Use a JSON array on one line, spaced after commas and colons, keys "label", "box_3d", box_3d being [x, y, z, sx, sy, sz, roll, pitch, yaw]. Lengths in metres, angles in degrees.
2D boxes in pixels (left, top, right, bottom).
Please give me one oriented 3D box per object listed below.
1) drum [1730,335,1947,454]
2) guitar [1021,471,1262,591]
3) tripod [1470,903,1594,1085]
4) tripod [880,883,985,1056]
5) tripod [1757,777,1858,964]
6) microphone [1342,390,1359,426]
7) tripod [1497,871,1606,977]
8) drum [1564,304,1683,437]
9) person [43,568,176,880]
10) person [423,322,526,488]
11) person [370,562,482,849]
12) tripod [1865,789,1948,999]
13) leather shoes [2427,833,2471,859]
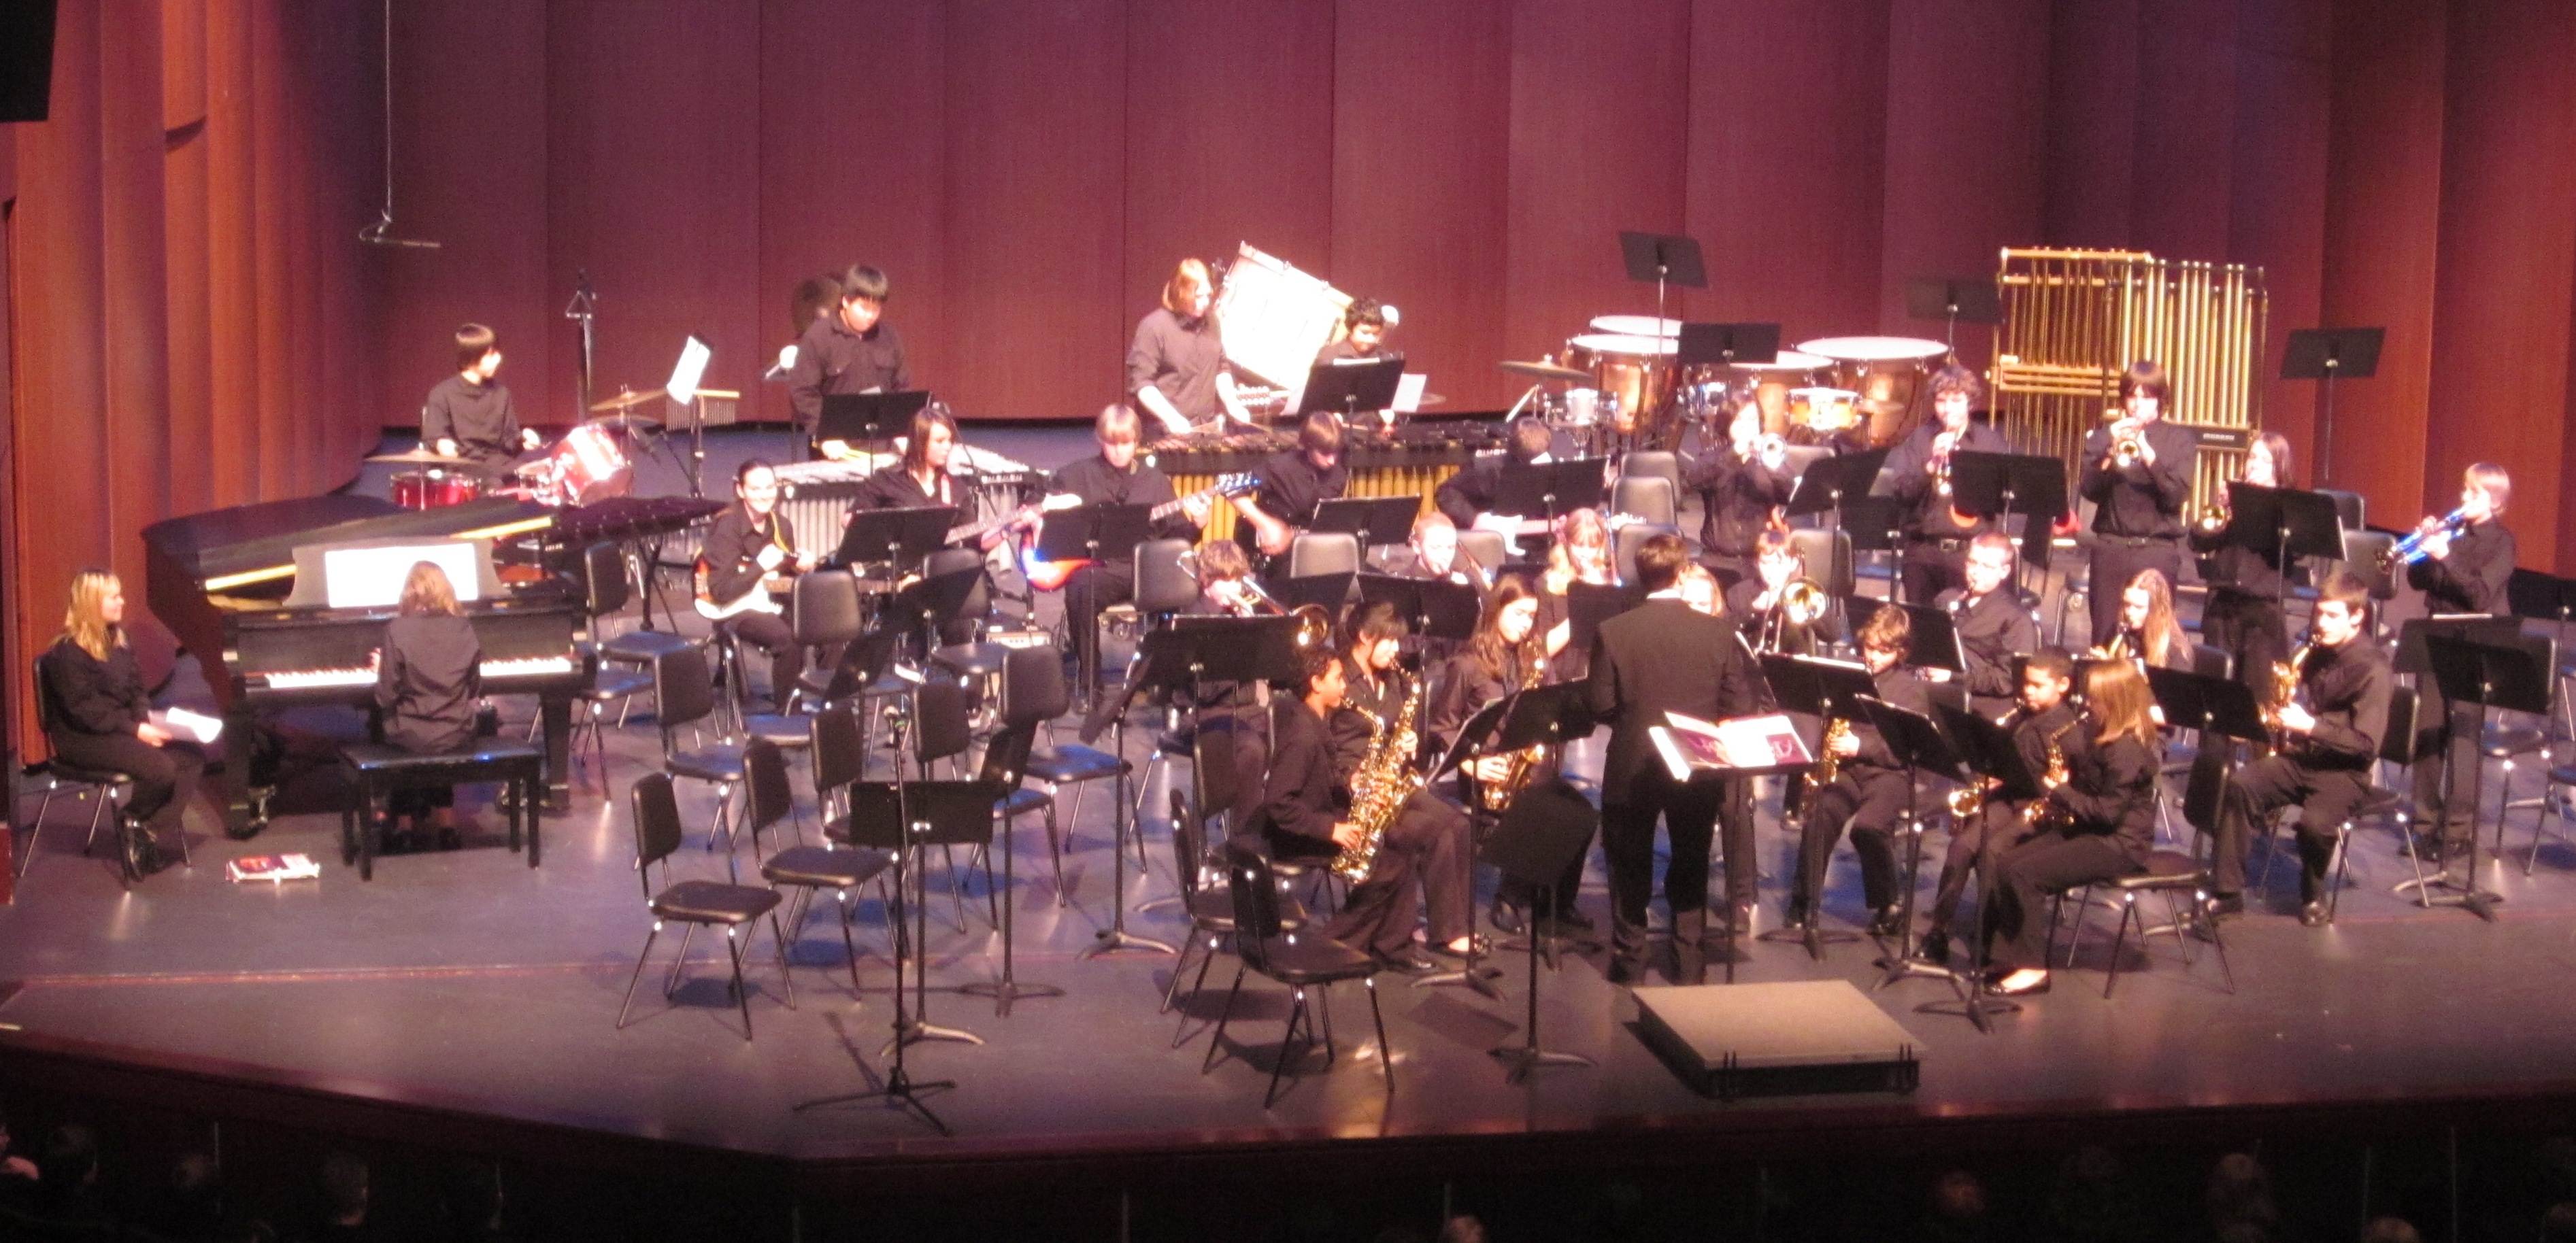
[{"label": "drum", "box_3d": [6.115, -2.376, 24.982, 2.273, 0.955, 1.667, 0, 9, 3]}, {"label": "guitar", "box_3d": [-1.500, -0.829, 21.344, 2.508, 0.876, 0.354, -16, 3, -4]}, {"label": "tripod", "box_3d": [1.828, 2.978, 17.134, 0.796, 0.712, 0.724, -1, 7, 12]}, {"label": "tripod", "box_3d": [-2.849, 2.641, 17.471, 0.769, 1.298, 0.649, 4, -1, -25]}, {"label": "tripod", "box_3d": [4.212, 2.070, 18.586, 0.616, 1.515, 0.802, 3, 2, 18]}, {"label": "microphone", "box_3d": [0.585, -2.107, 22.213, 0.260, 0.242, 0.245, 0, -1, -28]}, {"label": "tripod", "box_3d": [2.084, 2.446, 18.400, 0.881, 0.742, 0.846, -6, 9, -41]}, {"label": "drum", "box_3d": [3.927, -2.932, 26.116, 1.688, 1.247, 1.558, 1, 15, 0]}, {"label": "person", "box_3d": [-9.706, 0.801, 18.814, 1.322, 2.299, 0.911, 10, 10, 17]}, {"label": "person", "box_3d": [-8.268, -2.169, 23.185, 1.053, 1.512, 1.154, 8, 14, 28]}, {"label": "person", "box_3d": [-7.464, 0.686, 19.415, 0.970, 2.305, 1.446, 0, 4, -44]}, {"label": "tripod", "box_3d": [4.927, 2.211, 18.298, 0.664, 1.715, 0.471, 3, 1, -44]}, {"label": "leather shoes", "box_3d": [9.961, 1.946, 19.484, 0.284, 0.096, 0.210, -7, 12, -34]}]
